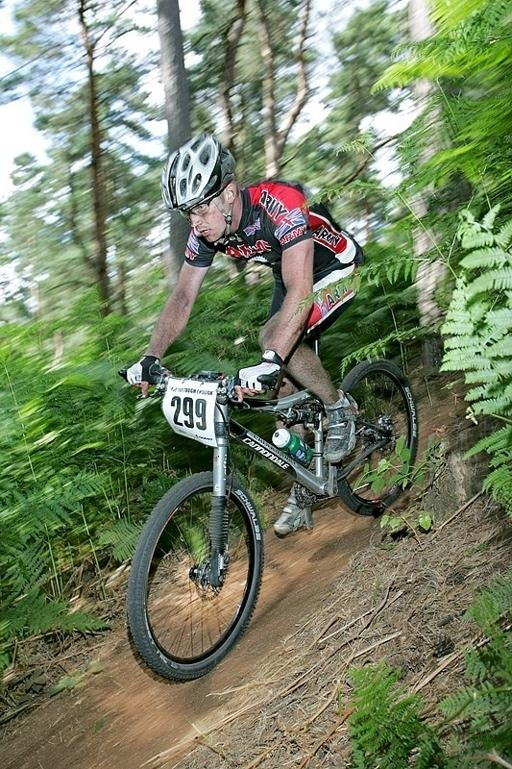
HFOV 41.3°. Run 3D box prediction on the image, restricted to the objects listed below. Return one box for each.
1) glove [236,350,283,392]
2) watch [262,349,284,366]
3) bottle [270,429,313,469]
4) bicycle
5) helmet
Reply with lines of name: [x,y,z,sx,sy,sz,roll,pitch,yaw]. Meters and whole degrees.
glove: [0.031,-0.067,3.011,0.147,0.092,0.194,-2,20,43]
watch: [0.081,-0.116,3.088,0.062,0.064,0.081,7,-26,34]
bottle: [0.196,0.360,3.716,0.108,0.106,0.258,-36,-41,11]
bicycle: [-0.078,0.481,3.989,2.268,1.257,1.097,-22,11,-38]
helmet: [-0.277,-1.066,3.299,0.292,0.407,0.139,8,-25,39]
